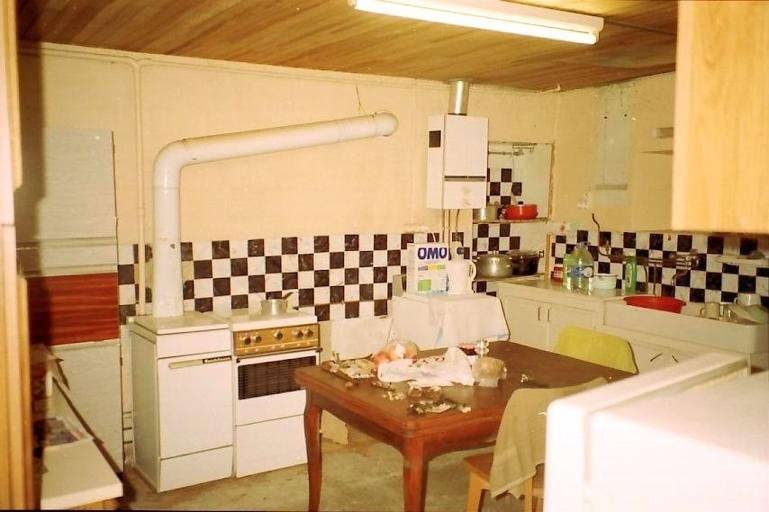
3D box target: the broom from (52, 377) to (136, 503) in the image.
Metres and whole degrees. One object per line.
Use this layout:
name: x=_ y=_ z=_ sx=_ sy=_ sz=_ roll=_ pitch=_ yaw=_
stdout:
broom: x=-1.460 y=0.895 z=3.016 sx=0.297 sy=0.033 sz=0.823 roll=10 pitch=10 yaw=-41

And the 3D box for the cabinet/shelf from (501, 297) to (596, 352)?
cabinet/shelf: x=1.249 y=0.503 z=4.487 sx=0.173 sy=0.388 sz=0.436 roll=-2 pitch=6 yaw=-30

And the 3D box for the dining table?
dining table: x=0.162 y=0.870 z=2.992 sx=1.332 sy=0.647 sz=0.970 roll=-2 pitch=4 yaw=-28

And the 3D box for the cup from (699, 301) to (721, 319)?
cup: x=2.172 y=0.357 z=4.006 sx=0.117 sy=0.106 sz=0.114 roll=1 pitch=-1 yaw=0

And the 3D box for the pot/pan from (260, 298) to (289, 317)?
pot/pan: x=-0.738 y=0.344 z=4.054 sx=0.143 sy=0.050 sz=0.109 roll=2 pitch=5 yaw=7

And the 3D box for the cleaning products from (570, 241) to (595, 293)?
cleaning products: x=1.641 y=0.073 z=4.990 sx=0.174 sy=0.355 sz=0.234 roll=6 pitch=8 yaw=17

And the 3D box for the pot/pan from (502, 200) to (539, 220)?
pot/pan: x=1.203 y=-0.381 z=5.296 sx=0.283 sy=0.141 sz=0.186 roll=3 pitch=8 yaw=3

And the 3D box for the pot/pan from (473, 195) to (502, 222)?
pot/pan: x=0.889 y=-0.401 z=5.220 sx=0.265 sy=0.230 sz=0.136 roll=-2 pitch=9 yaw=-19

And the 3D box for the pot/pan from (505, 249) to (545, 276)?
pot/pan: x=1.260 y=0.007 z=5.467 sx=0.334 sy=0.155 sz=0.241 roll=4 pitch=10 yaw=29

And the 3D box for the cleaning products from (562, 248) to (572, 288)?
cleaning products: x=1.520 y=0.121 z=4.960 sx=0.081 sy=0.262 sz=0.253 roll=6 pitch=8 yaw=16

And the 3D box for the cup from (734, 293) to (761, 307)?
cup: x=2.422 y=0.273 z=4.001 sx=0.107 sy=0.072 sz=0.107 roll=-2 pitch=8 yaw=0

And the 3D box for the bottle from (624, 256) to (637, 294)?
bottle: x=1.996 y=0.134 z=4.865 sx=0.123 sy=0.278 sz=0.426 roll=7 pitch=8 yaw=22
